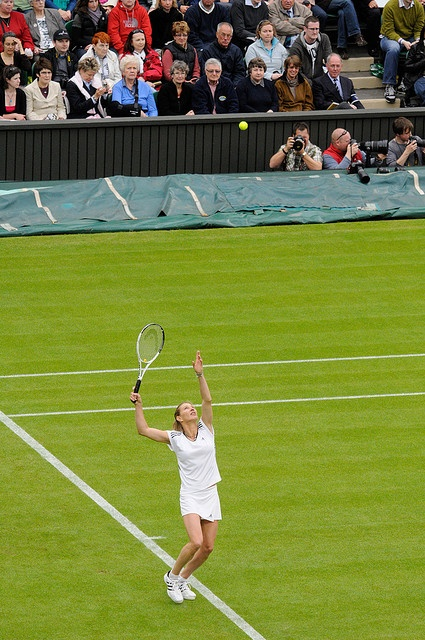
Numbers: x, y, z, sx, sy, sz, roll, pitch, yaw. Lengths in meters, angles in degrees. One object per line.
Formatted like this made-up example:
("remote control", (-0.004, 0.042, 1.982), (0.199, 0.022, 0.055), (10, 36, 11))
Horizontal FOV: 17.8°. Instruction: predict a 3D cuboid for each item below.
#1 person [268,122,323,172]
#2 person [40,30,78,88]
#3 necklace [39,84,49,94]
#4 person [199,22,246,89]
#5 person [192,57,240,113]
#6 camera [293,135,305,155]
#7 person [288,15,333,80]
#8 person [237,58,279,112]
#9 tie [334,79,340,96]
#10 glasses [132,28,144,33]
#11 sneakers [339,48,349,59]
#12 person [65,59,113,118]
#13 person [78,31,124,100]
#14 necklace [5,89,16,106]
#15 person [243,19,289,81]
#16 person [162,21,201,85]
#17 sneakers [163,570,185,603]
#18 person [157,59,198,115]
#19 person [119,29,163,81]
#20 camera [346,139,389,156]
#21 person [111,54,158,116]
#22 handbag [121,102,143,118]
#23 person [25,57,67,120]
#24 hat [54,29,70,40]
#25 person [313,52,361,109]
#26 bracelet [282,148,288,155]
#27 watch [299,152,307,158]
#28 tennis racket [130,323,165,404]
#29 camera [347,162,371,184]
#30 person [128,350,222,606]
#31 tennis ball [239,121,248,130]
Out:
("person", (1.371, -2.886, 22.056), (0.857, 1.151, 0.793), (0, 3, -2))
("person", (-2.609, -4.365, 23.152), (0.554, 1.181, 0.703), (2, 19, 0))
("necklace", (-2.737, -3.768, 22.135), (0.103, 0.142, 0.074), (-5, 10, -2))
("person", (0.175, -4.631, 23.893), (0.778, 1.167, 0.730), (-8, 28, -23))
("person", (0.059, -3.913, 22.793), (0.784, 0.908, 0.553), (0, 12, -8))
("camera", (1.365, -2.812, 21.814), (0.181, 0.291, 0.358), (3, 12, 3))
("person", (1.787, -4.797, 24.356), (0.772, 1.199, 0.775), (-18, 31, -29))
("person", (0.763, -3.981, 23.173), (0.692, 1.043, 0.718), (-3, 7, -3))
("tie", (2.186, -4.089, 23.813), (0.053, 0.232, 0.120), (-21, -11, -7))
("glasses", (-1.321, -5.040, 23.656), (0.136, 0.098, 0.138), (3, 14, 4))
("sneakers", (2.618, -5.360, 27.372), (0.125, 0.210, 0.201), (-3, 0, 6))
("person", (-2.065, -3.757, 22.524), (0.609, 1.210, 0.806), (-18, 34, -32))
("person", (-1.890, -4.295, 23.179), (0.681, 1.195, 0.812), (-1, 28, -4))
("necklace", (-3.259, -3.608, 21.876), (0.187, 0.265, 0.158), (-1, 12, -12))
("person", (0.985, -4.813, 24.317), (0.785, 1.061, 0.653), (-6, 12, -18))
("person", (-0.528, -4.668, 23.901), (0.661, 1.129, 0.684), (-5, 11, -22))
("sneakers", (-0.309, 2.069, 10.643), (0.163, 0.260, 0.121), (3, 12, 6))
("person", (-0.589, -3.873, 22.851), (0.638, 1.014, 0.916), (-11, 24, -23))
("person", (-1.274, -4.659, 24.273), (0.710, 1.012, 0.666), (-17, 19, -30))
("camera", (2.515, -2.817, 22.154), (0.597, 0.235, 0.242), (0, 4, 18))
("person", (-1.318, -3.931, 22.735), (0.710, 0.982, 0.950), (4, 12, 8))
("handbag", (-1.339, -3.468, 22.410), (0.300, 0.208, 0.260), (4, 12, 10))
("person", (-2.718, -3.775, 22.151), (0.707, 0.980, 0.558), (-1, 12, -15))
("hat", (-2.546, -4.791, 22.906), (0.231, 0.161, 0.323), (-1, 12, -14))
("person", (2.211, -4.060, 23.752), (0.797, 1.182, 0.905), (-14, 20, -41))
("bracelet", (1.161, -2.752, 22.089), (0.072, 0.074, 0.054), (-13, -11, 38))
("watch", (1.441, -2.692, 21.985), (0.076, 0.037, 0.104), (-1, -21, -2))
("tennis racket", (-0.562, 0.283, 11.215), (0.209, 0.779, 0.061), (18, 3, -11))
("camera", (2.321, -2.363, 21.687), (0.219, 0.223, 0.411), (3, 21, -12))
("person", (-0.253, 1.238, 10.685), (0.663, 1.872, 0.782), (1, 12, -6))
("tennis ball", (0.487, -3.194, 22.330), (0.143, 0.159, 0.211), (3, 12, 2))
